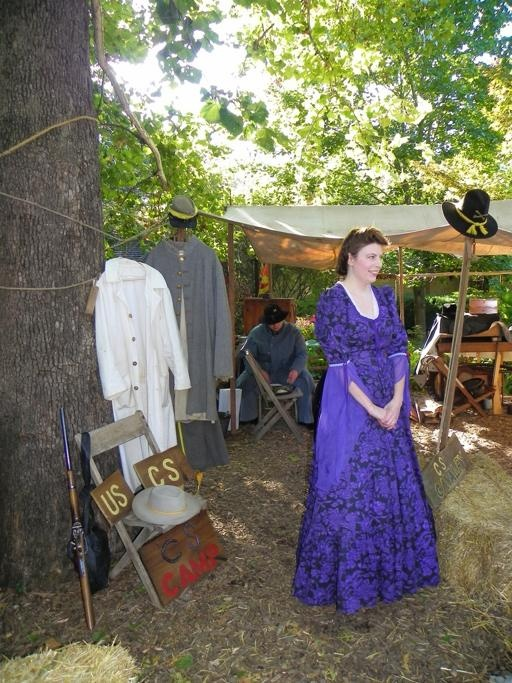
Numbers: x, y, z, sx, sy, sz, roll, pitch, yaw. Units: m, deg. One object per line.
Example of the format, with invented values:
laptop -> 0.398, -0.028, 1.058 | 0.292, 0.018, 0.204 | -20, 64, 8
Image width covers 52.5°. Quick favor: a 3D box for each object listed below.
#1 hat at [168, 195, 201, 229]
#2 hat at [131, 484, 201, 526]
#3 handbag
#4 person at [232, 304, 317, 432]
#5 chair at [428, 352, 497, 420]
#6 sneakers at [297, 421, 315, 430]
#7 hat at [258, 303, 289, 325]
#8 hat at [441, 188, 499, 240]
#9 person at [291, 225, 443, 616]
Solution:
hat -> -0.640, -1.142, 4.513 | 0.242, 0.284, 0.299 | -1, 5, -11
hat -> -0.523, 0.912, 2.885 | 0.290, 0.077, 0.276 | 9, 20, 8
handbag -> -0.927, 0.939, 2.960 | 0.232, 0.887, 0.236 | -3, -6, -11
person -> 0.260, 0.283, 7.083 | 1.061, 1.528, 0.961 | -2, 12, 7
chair -> 2.983, 0.637, 7.322 | 1.118, 1.026, 0.618 | -2, 2, 0
sneakers -> 0.687, 1.144, 7.045 | 0.187, 0.055, 0.181 | -3, 6, -34
hat -> 0.216, -0.323, 6.905 | 0.313, 0.159, 0.311 | -28, 30, -23
hat -> 1.532, -0.922, 3.769 | 0.352, 0.351, 0.358 | 3, 5, 29
person -> 0.604, 0.429, 2.849 | 0.715, 2.055, 0.403 | -3, 6, -26
